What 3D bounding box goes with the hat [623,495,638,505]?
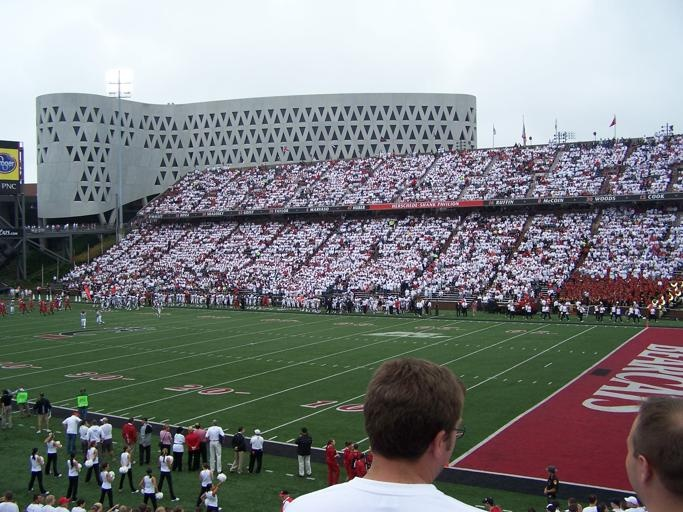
[{"bbox_3d":[10.475,8.842,37.363,0.321,0.232,0.418,-3,9,-34],"label":"hat"}]
